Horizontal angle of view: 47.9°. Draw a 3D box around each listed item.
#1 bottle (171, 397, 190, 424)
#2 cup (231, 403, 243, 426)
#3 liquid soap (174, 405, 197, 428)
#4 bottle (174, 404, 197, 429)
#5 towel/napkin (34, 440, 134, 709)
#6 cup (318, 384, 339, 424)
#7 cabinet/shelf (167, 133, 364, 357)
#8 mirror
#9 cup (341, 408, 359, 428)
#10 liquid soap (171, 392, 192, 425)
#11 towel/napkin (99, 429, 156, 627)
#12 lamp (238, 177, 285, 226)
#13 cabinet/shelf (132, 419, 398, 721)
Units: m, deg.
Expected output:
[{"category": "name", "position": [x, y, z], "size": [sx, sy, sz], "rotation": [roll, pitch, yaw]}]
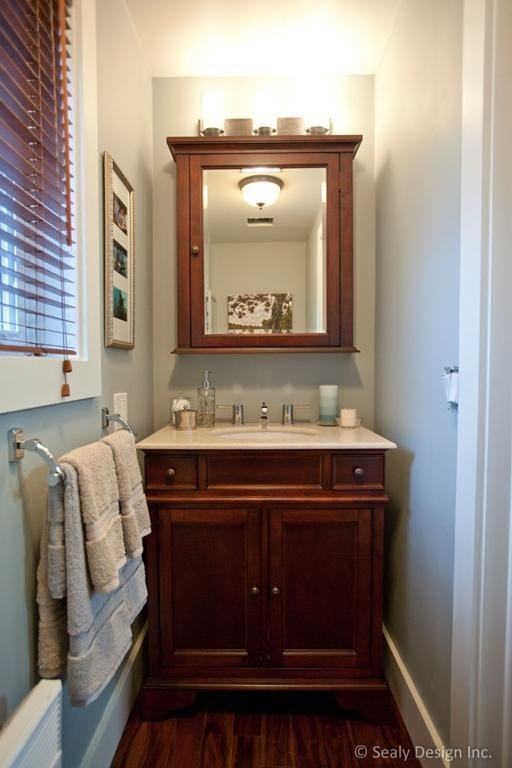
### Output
[{"category": "bottle", "position": [-0.256, 0.087, 1.949], "size": [0.062, 0.136, 0.080], "rotation": [0, 0, -12]}, {"category": "cup", "position": [-0.075, 0.114, 2.025], "size": [0.048, 0.103, 0.053], "rotation": [0, -3, -12]}, {"category": "liquid soap", "position": [-0.235, 0.109, 1.909], "size": [0.063, 0.083, 0.054], "rotation": [1, 8, -1]}, {"category": "bottle", "position": [-0.235, 0.113, 1.902], "size": [0.059, 0.077, 0.051], "rotation": [-1, 3, -9]}, {"category": "towel/napkin", "position": [-0.323, 0.344, 1.158], "size": [0.122, 0.487, 0.295], "rotation": [3, 6, 21]}, {"category": "cup", "position": [0.255, 0.074, 2.024], "size": [0.066, 0.138, 0.051], "rotation": [2, 5, 9]}, {"category": "cabinet/shelf", "position": [0.035, -0.492, 2.002], "size": [0.592, 0.821, 0.196], "rotation": [0, -1, -2]}, {"category": "mirror", "position": [0.019, -0.451, 2.018], "size": [0.563, 0.932, 0.029], "rotation": [0, -34, 3]}, {"category": "cup", "position": [0.323, 0.117, 1.981], "size": [0.050, 0.076, 0.058], "rotation": [1, -8, -5]}, {"category": "liquid soap", "position": [-0.257, 0.076, 1.946], "size": [0.070, 0.148, 0.078], "rotation": [1, 0, -29]}, {"category": "towel/napkin", "position": [-0.275, 0.238, 1.278], "size": [0.060, 0.247, 0.212], "rotation": [-6, -6, 17]}, {"category": "lamp", "position": [0.017, -0.667, 2.064], "size": [0.171, 0.192, 0.223], "rotation": [3, 46, 0]}, {"category": "cabinet/shelf", "position": [0.032, 0.441, 1.842], "size": [0.701, 1.008, 0.539], "rotation": [-1, 27, 1]}]
